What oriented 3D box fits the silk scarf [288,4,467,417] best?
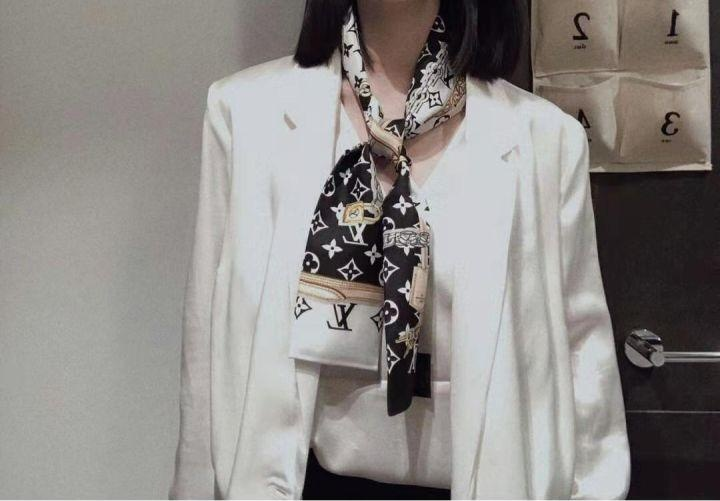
[{"bbox_3d":[0.047,-0.093,1.816,0.232,0.656,0.386,5,22,20],"label":"silk scarf"}]

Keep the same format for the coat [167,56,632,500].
[{"bbox_3d":[0.047,0.076,1.812,0.704,0.766,0.382,1,4,-4],"label":"coat"}]
